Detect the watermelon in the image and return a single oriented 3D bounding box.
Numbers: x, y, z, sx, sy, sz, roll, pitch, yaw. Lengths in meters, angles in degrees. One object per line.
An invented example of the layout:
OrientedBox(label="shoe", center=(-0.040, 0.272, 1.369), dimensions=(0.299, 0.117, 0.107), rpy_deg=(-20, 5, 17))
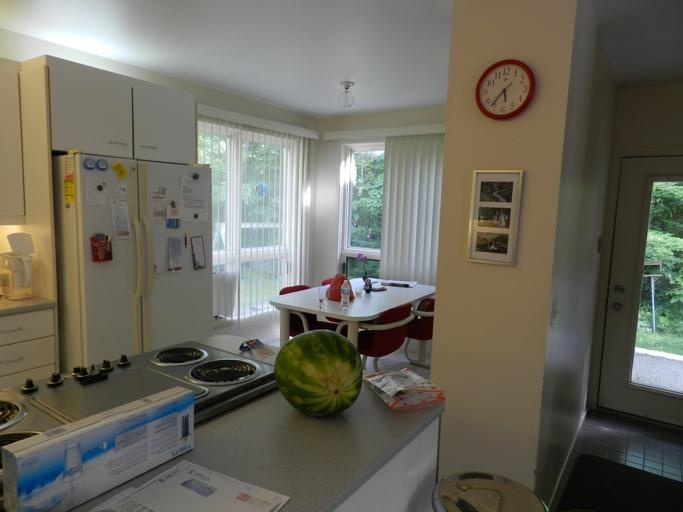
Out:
OrientedBox(label="watermelon", center=(-0.073, 0.413, 1.810), dimensions=(0.244, 0.349, 0.235), rpy_deg=(11, 8, 18))

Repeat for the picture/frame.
OrientedBox(label="picture/frame", center=(0.825, -0.200, 2.617), dimensions=(0.252, 0.503, 0.076), rpy_deg=(9, 7, 38))

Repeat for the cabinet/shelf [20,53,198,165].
OrientedBox(label="cabinet/shelf", center=(-1.649, -1.034, 3.579), dimensions=(0.551, 0.673, 1.071), rpy_deg=(9, 9, 34))

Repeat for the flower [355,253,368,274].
OrientedBox(label="flower", center=(0.262, 0.090, 6.145), dimensions=(0.092, 0.102, 0.233), rpy_deg=(3, -22, 14))
